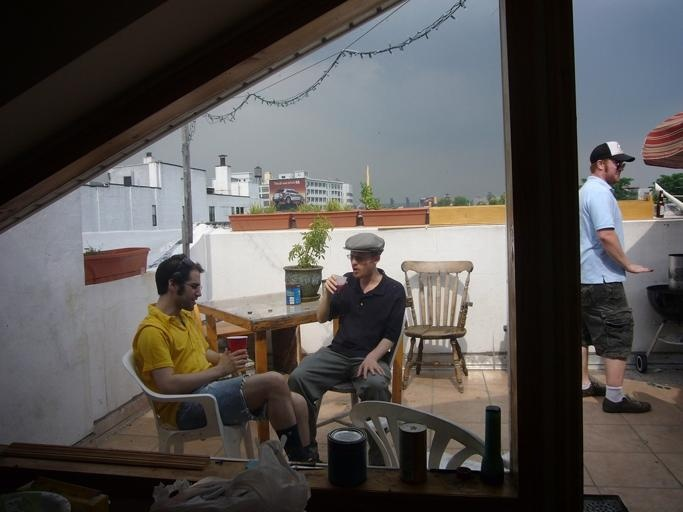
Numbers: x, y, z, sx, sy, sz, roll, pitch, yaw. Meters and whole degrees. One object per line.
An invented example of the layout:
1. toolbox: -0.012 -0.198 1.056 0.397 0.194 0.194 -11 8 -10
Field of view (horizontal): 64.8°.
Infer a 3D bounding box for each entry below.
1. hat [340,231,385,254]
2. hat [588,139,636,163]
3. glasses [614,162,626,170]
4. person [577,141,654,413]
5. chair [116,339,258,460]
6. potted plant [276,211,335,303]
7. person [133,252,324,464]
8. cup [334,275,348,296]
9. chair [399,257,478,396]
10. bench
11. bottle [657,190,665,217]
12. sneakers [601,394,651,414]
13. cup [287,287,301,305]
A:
1. hat: 0.154 -0.087 3.641 0.183 0.089 0.240 2 5 14
2. hat: 1.808 -0.696 3.630 0.220 0.122 0.147 1 13 27
3. glasses: 1.897 -0.615 3.671 0.077 0.072 0.045 -23 24 -36
4. person: 1.840 0.247 3.610 0.430 1.568 0.406 1 7 24
5. chair: -0.695 0.729 2.866 0.597 0.837 0.550 -6 0 0
6. potted plant: -0.248 0.023 3.968 0.325 0.606 0.233 3 4 -13
7. person: -0.677 0.513 3.066 1.060 1.206 0.724 0 -6 3
8. cup: 0.005 0.193 3.336 0.088 0.094 0.086 1 -2 0
9. chair: 0.819 0.524 4.478 0.614 0.951 0.780 -2 6 7
10. bench: -0.706 0.762 4.387 0.597 0.606 0.621 -1 0 26
11. bottle: 2.759 -0.441 4.643 0.057 0.213 0.199 1 7 31
12. sneakers: 1.861 0.986 3.567 0.316 0.120 0.123 -2 -4 6
13. cup: -0.333 0.282 3.758 0.105 0.119 0.108 -1 3 0
